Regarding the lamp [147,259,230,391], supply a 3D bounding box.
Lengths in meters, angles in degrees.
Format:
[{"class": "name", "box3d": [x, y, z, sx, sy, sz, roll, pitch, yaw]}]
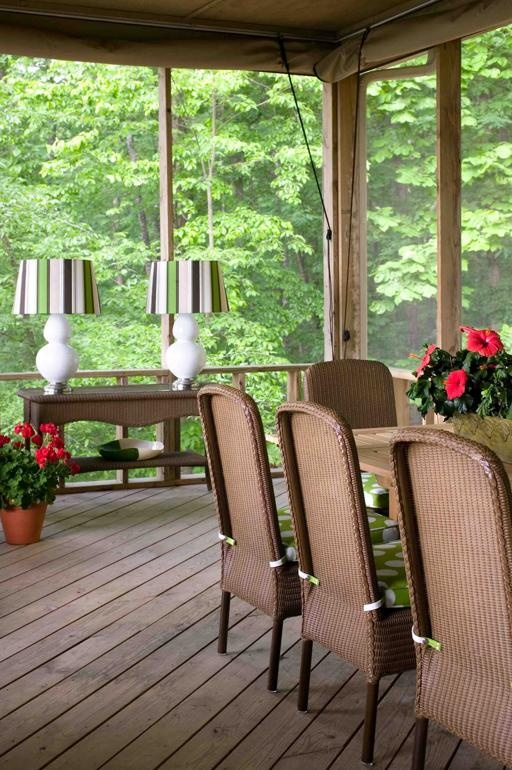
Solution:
[{"class": "lamp", "box3d": [-0.422, -0.359, 3.786, 0.441, 0.776, 0.486, -1, 2, -22]}]

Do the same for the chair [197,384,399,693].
[{"class": "chair", "box3d": [0.110, 0.381, 1.789, 0.487, 0.756, 0.396, 0, 2, -25]}]

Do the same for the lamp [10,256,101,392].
[{"class": "lamp", "box3d": [-1.098, -0.323, 3.529, 0.451, 0.751, 0.476, -1, 2, -20]}]

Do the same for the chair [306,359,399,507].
[{"class": "chair", "box3d": [0.393, 0.058, 2.580, 0.291, 0.464, 0.331, -3, 5, -22]}]
